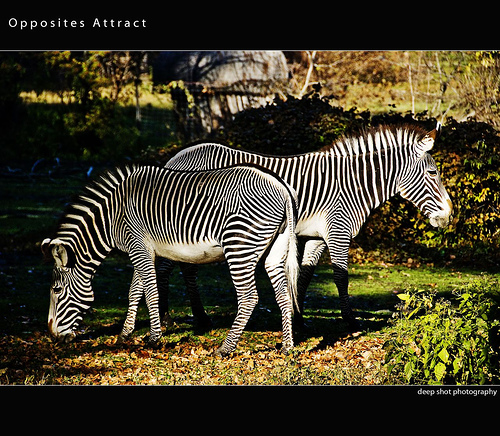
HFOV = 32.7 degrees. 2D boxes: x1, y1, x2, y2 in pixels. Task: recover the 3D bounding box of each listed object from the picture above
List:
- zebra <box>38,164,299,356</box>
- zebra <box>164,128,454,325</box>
[{"bbox_3d":[-0.706,0.360,7.766,2.526,1.666,0.725,-3,2,16],"label":"zebra"},{"bbox_3d":[0.776,0.106,8.234,0.724,1.808,2.839,1,-3,-42],"label":"zebra"}]
